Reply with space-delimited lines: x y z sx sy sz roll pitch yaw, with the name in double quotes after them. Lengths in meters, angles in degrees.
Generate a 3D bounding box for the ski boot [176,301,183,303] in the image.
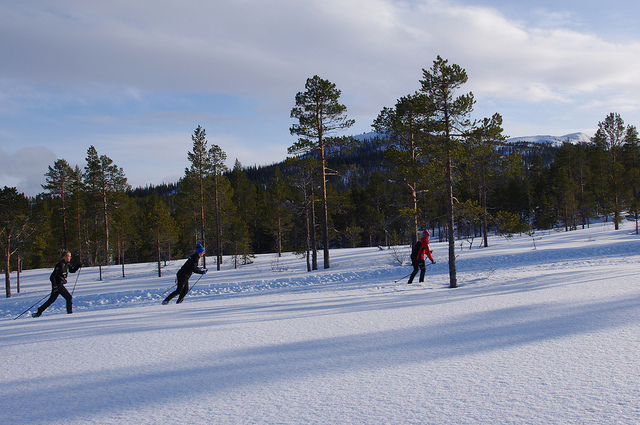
-9.038 5.785 43.586 0.349 0.099 0.108 -3 -2 -5 "ski boot"

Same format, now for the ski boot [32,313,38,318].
-17.908 6.488 42.630 0.274 0.198 0.278 -2 -2 39 "ski boot"
